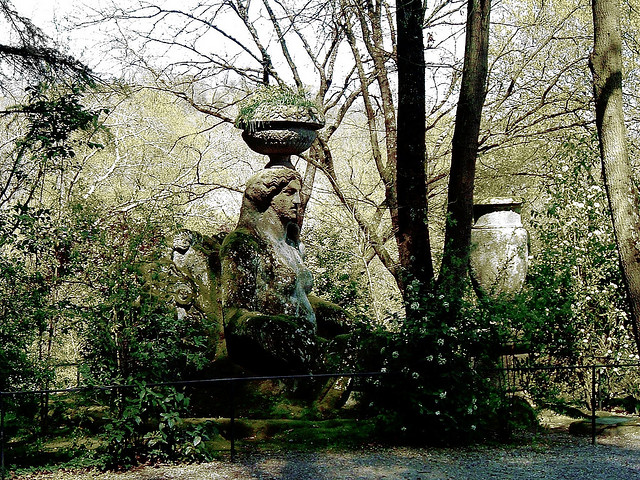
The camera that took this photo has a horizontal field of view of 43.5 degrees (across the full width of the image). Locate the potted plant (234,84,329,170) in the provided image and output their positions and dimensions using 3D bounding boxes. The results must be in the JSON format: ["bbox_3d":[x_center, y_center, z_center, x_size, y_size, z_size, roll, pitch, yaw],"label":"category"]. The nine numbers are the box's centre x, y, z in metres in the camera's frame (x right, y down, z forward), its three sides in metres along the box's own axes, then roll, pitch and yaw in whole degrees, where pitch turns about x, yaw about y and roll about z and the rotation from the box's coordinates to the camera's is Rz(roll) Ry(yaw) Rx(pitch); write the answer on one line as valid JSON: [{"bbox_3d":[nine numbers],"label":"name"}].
[{"bbox_3d":[-0.720,-1.591,11.963,1.380,1.165,1.295,-5,-2,-4],"label":"potted plant"}]

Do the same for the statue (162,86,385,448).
[{"bbox_3d":[-0.728,0.081,10.802,2.496,5.200,1.985,2,-13,-12],"label":"statue"}]
